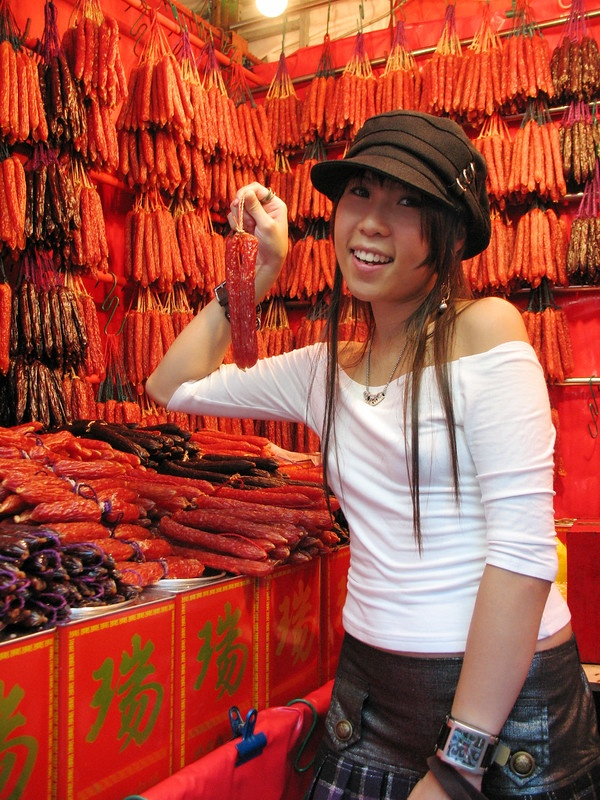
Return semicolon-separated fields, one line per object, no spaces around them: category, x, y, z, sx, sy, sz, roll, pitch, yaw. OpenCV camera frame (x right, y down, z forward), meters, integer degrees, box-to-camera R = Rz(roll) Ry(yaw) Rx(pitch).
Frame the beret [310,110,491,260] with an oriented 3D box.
beret;0.181;-0.392;1.057;0.237;0.147;0.299;19;8;25

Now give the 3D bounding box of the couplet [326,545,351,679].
couplet;0.109;0.629;1.919;0.092;0.336;0.196;1;2;19

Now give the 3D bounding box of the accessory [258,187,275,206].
accessory;-0.076;-0.451;1.443;0.014;0.034;0.033;47;22;29

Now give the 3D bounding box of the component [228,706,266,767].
component;-0.112;0.698;1.375;0.107;0.096;0.057;1;10;-40
